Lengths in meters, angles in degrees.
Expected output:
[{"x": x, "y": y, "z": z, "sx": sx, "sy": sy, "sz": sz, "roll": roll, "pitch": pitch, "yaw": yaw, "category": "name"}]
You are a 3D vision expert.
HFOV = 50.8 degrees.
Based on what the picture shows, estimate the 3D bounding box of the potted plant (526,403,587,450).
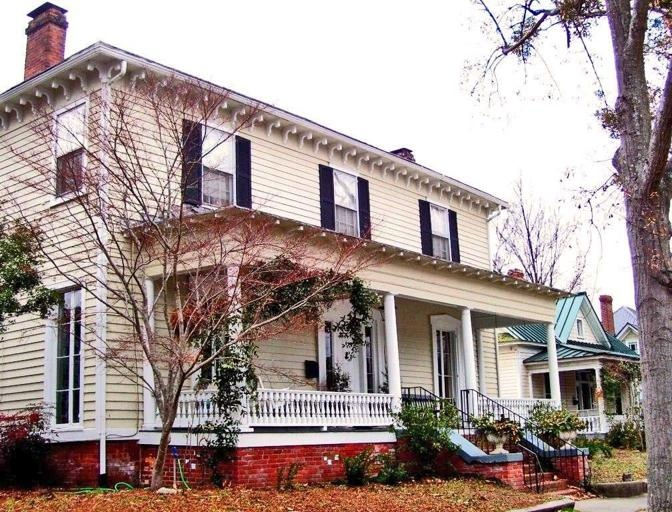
[{"x": 6.738, "y": 5.133, "z": 20.770, "sx": 1.073, "sy": 0.846, "sz": 1.092, "roll": 16, "pitch": -35, "yaw": -30, "category": "potted plant"}]

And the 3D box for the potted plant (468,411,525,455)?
[{"x": 4.238, "y": 4.549, "z": 18.412, "sx": 1.101, "sy": 0.892, "sz": 1.257, "roll": 2, "pitch": -10, "yaw": -9, "category": "potted plant"}]
